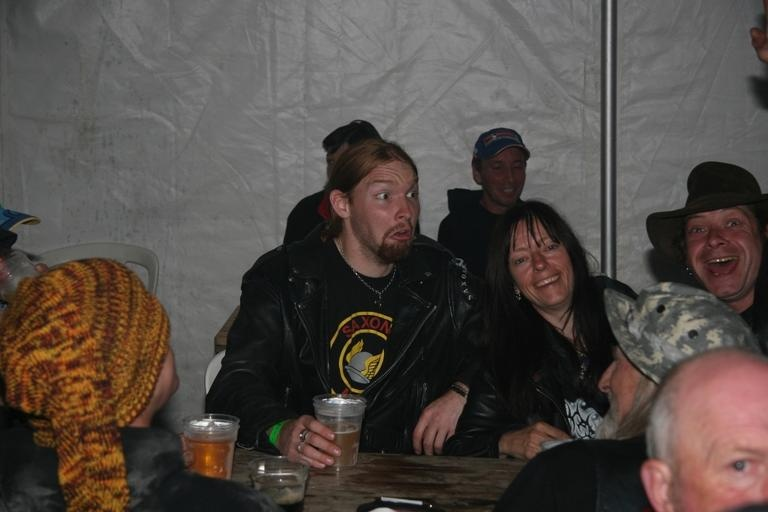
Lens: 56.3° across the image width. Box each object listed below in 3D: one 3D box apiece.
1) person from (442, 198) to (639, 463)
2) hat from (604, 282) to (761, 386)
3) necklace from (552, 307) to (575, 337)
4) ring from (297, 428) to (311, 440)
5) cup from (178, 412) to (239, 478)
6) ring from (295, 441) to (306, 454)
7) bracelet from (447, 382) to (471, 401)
[{"bbox_3d":[0.758,0.305,3.452,0.914,1.141,0.351,1,4,-12],"label":"person"},{"bbox_3d":[0.894,0.203,2.241,0.285,0.111,0.369,-15,36,-8],"label":"hat"},{"bbox_3d":[0.924,0.330,3.551,0.095,0.110,0.127,-22,-2,38],"label":"necklace"},{"bbox_3d":[-0.296,0.672,2.679,0.015,0.039,0.031,23,4,-32],"label":"ring"},{"bbox_3d":[-0.584,0.643,2.432,0.204,0.222,0.206,2,-11,0],"label":"cup"},{"bbox_3d":[-0.308,0.711,2.648,0.032,0.042,0.016,-1,-15,19],"label":"ring"},{"bbox_3d":[0.365,0.658,3.466,0.079,0.032,0.072,17,-20,50],"label":"bracelet"}]
